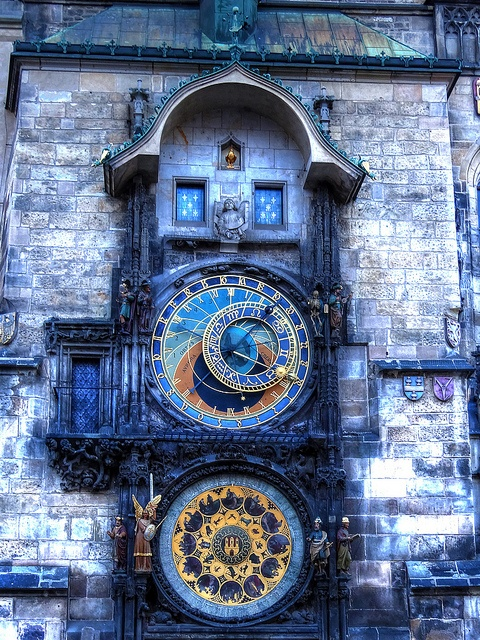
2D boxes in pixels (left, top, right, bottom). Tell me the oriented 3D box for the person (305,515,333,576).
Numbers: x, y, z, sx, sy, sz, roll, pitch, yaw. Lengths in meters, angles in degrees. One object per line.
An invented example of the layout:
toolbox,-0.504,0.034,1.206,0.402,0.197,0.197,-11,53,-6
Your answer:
person,1.194,3.264,21.214,0.317,0.761,0.300,-4,-16,6

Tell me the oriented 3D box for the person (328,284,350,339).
person,1.578,-0.114,22.682,0.266,0.878,0.415,-10,-18,26

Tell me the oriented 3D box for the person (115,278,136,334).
person,-1.737,-0.190,22.423,0.217,0.835,0.439,4,-17,-20

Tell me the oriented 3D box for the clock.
clock,-0.183,0.586,22.557,1.907,2.082,0.406,13,-22,-7

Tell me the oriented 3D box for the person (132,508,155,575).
person,-1.348,3.165,21.068,0.306,0.860,0.209,3,-17,-17

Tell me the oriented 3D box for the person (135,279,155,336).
person,-1.429,-0.192,22.383,0.231,0.798,0.228,-1,-16,-5

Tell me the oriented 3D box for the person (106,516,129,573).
person,-1.723,3.184,21.036,0.230,0.763,0.283,-3,-16,5

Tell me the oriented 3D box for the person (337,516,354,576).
person,1.549,3.271,21.338,0.257,0.785,0.434,-3,-16,3
